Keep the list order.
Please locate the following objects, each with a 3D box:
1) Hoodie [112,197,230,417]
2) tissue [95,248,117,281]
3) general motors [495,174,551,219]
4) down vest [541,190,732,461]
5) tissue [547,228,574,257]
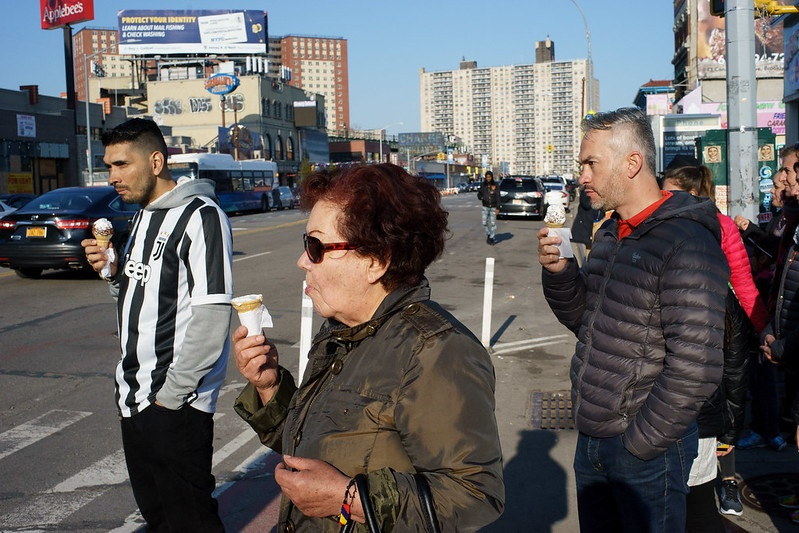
[{"bbox_3d":[-1.573,0.272,5.347,0.840,1.453,0.649,-4,11,-8],"label":"Hoodie"},{"bbox_3d":[-2.168,-0.010,5.672,0.092,0.216,0.144,21,46,12],"label":"tissue"},{"bbox_3d":[4.650,-2.520,29.441,1.713,1.404,3.028,2,15,14],"label":"general motors"},{"bbox_3d":[1.545,0.346,4.882,0.918,1.567,0.653,2,11,22],"label":"down vest"},{"bbox_3d":[1.085,-0.162,5.252,0.182,0.190,0.095,-2,5,38],"label":"tissue"}]
